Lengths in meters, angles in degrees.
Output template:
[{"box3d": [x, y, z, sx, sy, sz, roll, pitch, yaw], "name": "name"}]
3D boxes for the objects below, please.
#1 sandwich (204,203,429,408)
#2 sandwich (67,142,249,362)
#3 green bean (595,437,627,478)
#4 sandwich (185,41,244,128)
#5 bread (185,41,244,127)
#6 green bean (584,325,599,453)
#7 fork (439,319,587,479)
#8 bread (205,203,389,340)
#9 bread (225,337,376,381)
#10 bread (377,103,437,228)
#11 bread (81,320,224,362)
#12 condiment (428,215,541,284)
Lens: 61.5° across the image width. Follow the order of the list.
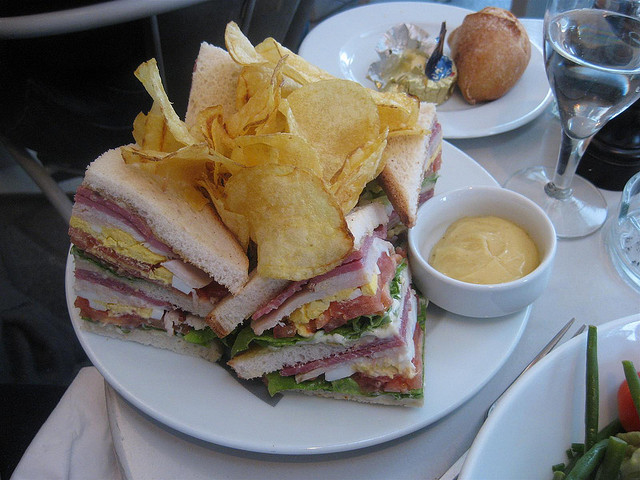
[{"box3d": [0.068, 0.177, 1.362, 0.531, 0.464, 0.412, 11, 25, 30], "name": "sandwich"}, {"box3d": [-0.348, 0.022, 1.512, 0.501, 0.533, 0.401, 5, 30, 10], "name": "sandwich"}, {"box3d": [0.551, 0.412, 1.012, 0.027, 0.100, 0.031, 5, 17, -30], "name": "green bean"}, {"box3d": [-0.296, -0.411, 1.404, 0.054, 0.217, 0.211, 17, 14, 40], "name": "sandwich"}, {"box3d": [-0.274, -0.399, 1.379, 0.129, 0.117, 0.191, 6, 59, 6], "name": "bread"}, {"box3d": [0.570, 0.311, 1.128, 0.025, 0.026, 0.255, 3, 85, -18], "name": "green bean"}, {"box3d": [0.414, 0.357, 1.164, 0.469, 0.025, 0.053, -36, 51, -16], "name": "fork"}, {"box3d": [-0.071, 0.070, 1.266, 0.345, 0.327, 0.099, -37, 79, -24], "name": "bread"}, {"box3d": [-0.004, 0.289, 1.396, 0.319, 0.348, 0.079, -22, 70, 31], "name": "bread"}, {"box3d": [0.204, -0.201, 1.428, 0.158, 0.079, 0.309, 30, 60, -23], "name": "bread"}, {"box3d": [-0.401, 0.287, 1.350, 0.395, 0.085, 0.080, 10, 70, 8], "name": "bread"}, {"box3d": [0.426, 0.038, 1.393, 0.259, 0.150, 0.164, -3, 24, -4], "name": "condiment"}]
